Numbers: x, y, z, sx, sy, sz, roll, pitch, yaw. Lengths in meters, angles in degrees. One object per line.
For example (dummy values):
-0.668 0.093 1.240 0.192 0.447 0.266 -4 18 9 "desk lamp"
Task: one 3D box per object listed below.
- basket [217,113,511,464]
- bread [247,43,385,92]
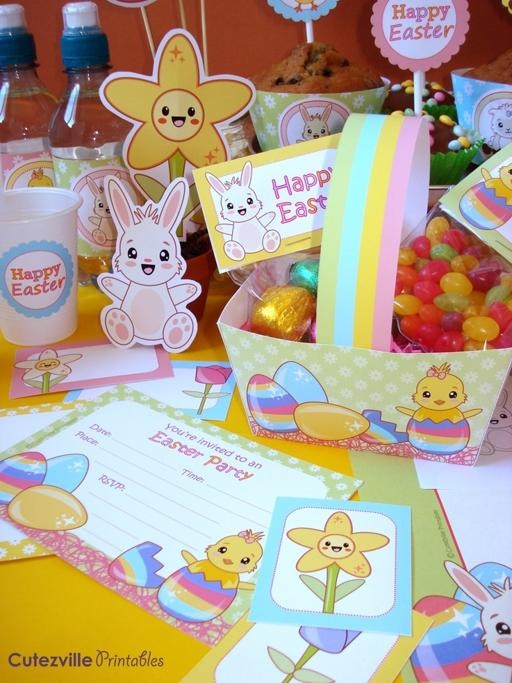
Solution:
0.066 -0.083 0.683 0.347 0.327 0.328 5 37 13 "basket"
0.082 -0.365 0.819 0.136 0.039 0.127 -18 37 -27 "bread"
